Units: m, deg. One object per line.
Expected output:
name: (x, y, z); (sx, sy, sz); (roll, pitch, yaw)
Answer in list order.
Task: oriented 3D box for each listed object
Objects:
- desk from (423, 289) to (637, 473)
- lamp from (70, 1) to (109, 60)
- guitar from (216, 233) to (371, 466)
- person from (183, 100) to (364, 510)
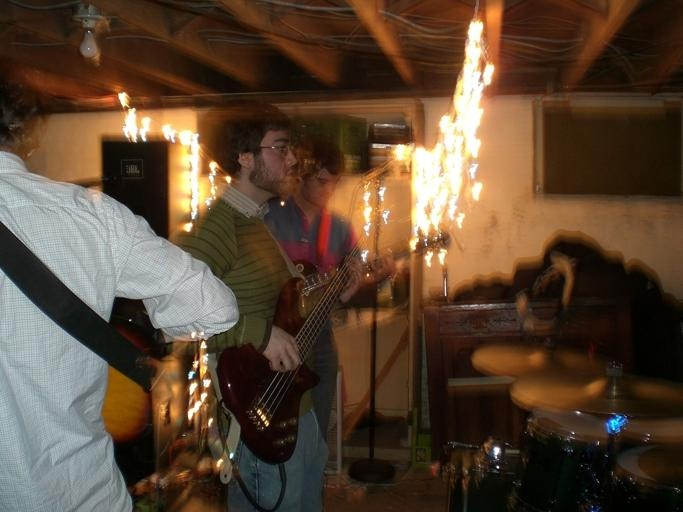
desk: (1.202, 0.808, 4.130); (1.228, 1.287, 0.460); (0, -6, 7)
lamp: (-1.568, -1.406, 3.978); (0.167, 0.340, 0.089); (-1, 7, -8)
guitar: (-0.200, 0.453, 3.057); (0.110, 0.421, 0.972); (-2, 44, 34)
person: (-0.438, 0.119, 3.086); (0.224, 2.056, 0.766); (-25, -32, 35)
